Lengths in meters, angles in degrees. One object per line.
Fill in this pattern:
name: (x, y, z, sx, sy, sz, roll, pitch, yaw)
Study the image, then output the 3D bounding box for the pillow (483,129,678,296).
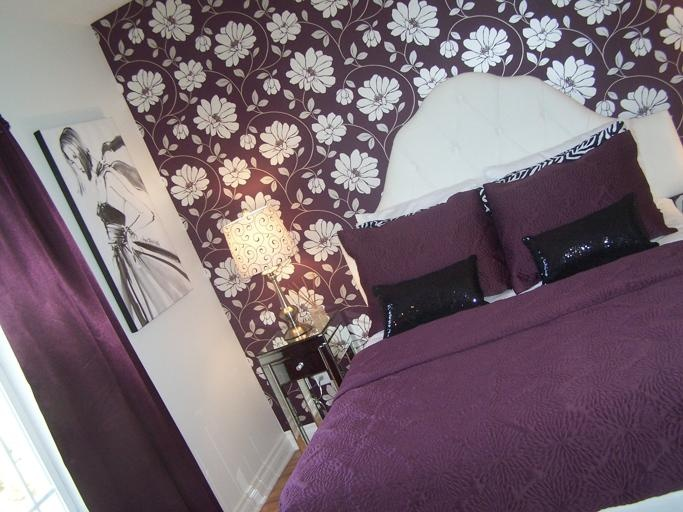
pillow: (1.256, -0.215, 2.743, 0.922, 0.373, 1.189, -14, 27, 13)

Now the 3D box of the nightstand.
nightstand: (-0.178, 0.905, 3.424, 0.418, 0.841, 0.610, -18, 6, 7)
